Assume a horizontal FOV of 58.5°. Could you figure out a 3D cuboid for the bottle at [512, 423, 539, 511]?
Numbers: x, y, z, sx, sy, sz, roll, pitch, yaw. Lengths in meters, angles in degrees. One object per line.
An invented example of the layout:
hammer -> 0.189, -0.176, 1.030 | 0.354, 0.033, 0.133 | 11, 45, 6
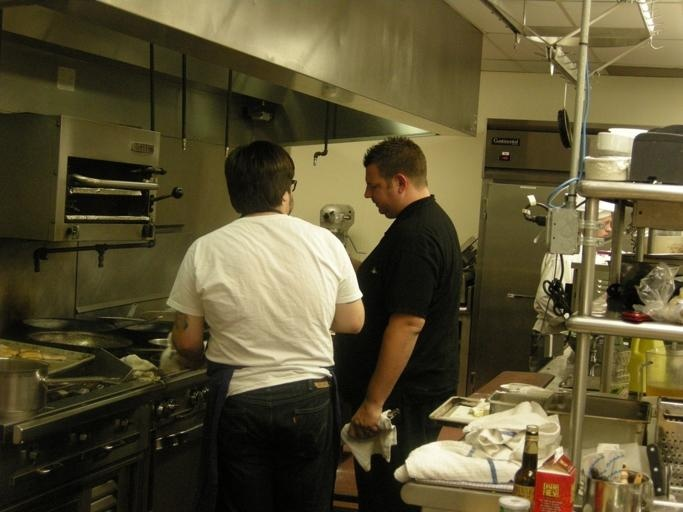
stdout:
bottle -> 0.468, 0.522, 1.550 | 0.056, 0.171, 0.187 | 2, -1, 17
